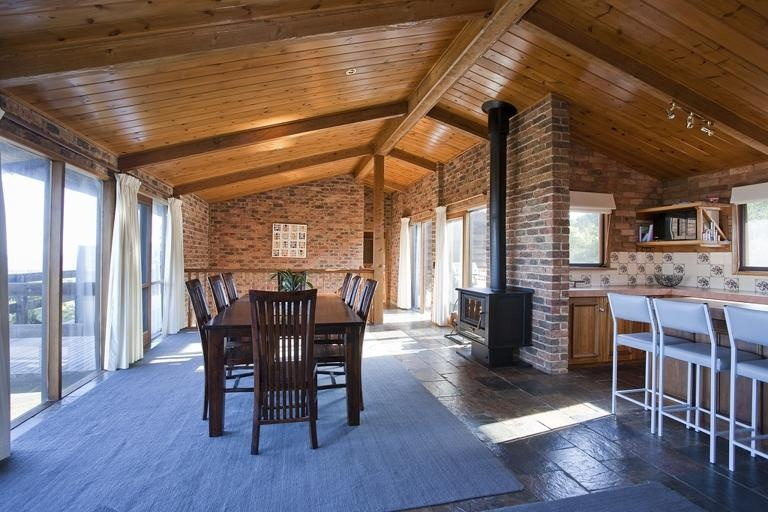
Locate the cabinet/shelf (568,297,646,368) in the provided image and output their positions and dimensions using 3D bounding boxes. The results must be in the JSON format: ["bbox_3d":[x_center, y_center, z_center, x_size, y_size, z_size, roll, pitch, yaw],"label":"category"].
[{"bbox_3d":[2.638,0.930,6.251,1.249,0.815,0.605,1,-2,-9],"label":"cabinet/shelf"}]

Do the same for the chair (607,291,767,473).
[{"bbox_3d":[2.933,1.269,4.976,0.880,1.621,1.672,-1,1,-17],"label":"chair"}]

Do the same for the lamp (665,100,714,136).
[{"bbox_3d":[3.529,-1.549,5.904,0.484,0.162,0.434,6,9,-23],"label":"lamp"}]
